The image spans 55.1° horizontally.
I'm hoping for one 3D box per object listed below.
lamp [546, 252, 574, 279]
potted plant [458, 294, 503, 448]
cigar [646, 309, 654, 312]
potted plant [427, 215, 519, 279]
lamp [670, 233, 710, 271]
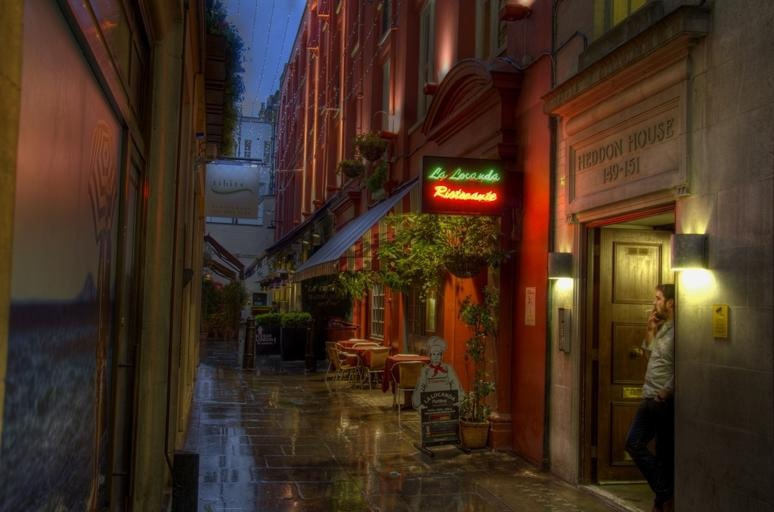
[{"bbox_3d":[2.104,0.119,8.946,0.271,0.308,0.257,-2,5,-31],"label":"lamp"},{"bbox_3d":[1.307,1.577,10.579,0.520,2.239,0.711,1,-1,-10],"label":"potted plant"},{"bbox_3d":[3.173,0.665,8.930,0.033,0.030,0.137,-5,-3,34],"label":"cigar"},{"bbox_3d":[1.229,-0.175,10.588,0.922,1.165,0.837,1,-11,1],"label":"potted plant"},{"bbox_3d":[2.891,-0.051,6.990,0.260,0.338,0.315,-4,8,15],"label":"lamp"}]
